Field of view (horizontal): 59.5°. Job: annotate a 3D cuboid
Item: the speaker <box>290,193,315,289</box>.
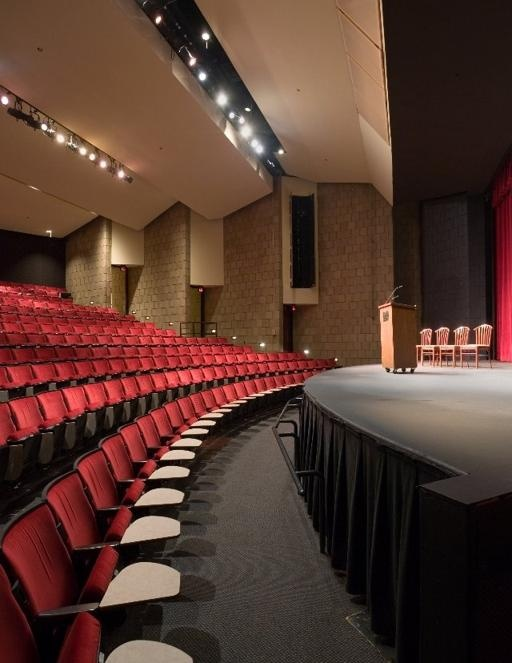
[{"bbox_3d":[0.764,-1.484,7.416,0.430,1.571,0.140,1,0,6],"label":"speaker"}]
